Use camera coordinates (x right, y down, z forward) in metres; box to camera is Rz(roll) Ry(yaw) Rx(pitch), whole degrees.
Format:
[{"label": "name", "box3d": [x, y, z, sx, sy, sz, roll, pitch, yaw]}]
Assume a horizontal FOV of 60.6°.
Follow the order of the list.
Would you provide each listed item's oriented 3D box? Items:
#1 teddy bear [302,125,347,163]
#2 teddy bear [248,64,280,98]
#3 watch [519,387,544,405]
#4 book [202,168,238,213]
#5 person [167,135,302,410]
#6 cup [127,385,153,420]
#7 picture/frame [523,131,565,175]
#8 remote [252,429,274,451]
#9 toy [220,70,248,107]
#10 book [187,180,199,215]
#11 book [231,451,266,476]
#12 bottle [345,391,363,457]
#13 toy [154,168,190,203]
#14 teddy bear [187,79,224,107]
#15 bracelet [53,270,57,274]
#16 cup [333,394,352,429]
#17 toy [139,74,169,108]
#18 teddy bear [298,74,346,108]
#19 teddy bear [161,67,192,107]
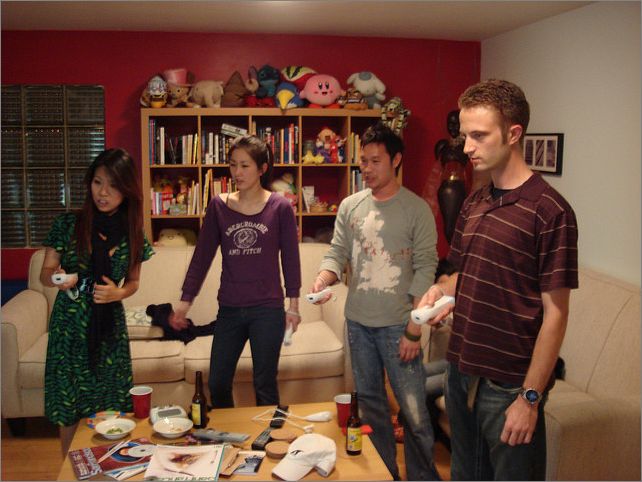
[{"label": "teddy bear", "box3d": [0.032, -0.919, 5.261, 0.416, 0.447, 0.272, 2, 6, -1]}, {"label": "teddy bear", "box3d": [-0.508, -1.499, 5.157, 0.312, 0.314, 0.228, -17, 21, -24]}, {"label": "watch", "box3d": [0.805, 0.591, 2.104, 0.073, 0.053, 0.076, -3, -7, 12]}, {"label": "book", "box3d": [-0.987, -0.530, 5.235, 0.367, 0.380, 0.262, -5, -1, 12]}, {"label": "person", "box3d": [-0.470, 0.172, 3.141, 0.693, 1.537, 0.254, -1, 8, -2]}, {"label": "cup", "box3d": [-0.951, 0.856, 2.912, 0.119, 0.136, 0.125, -2, 1, 0]}, {"label": "picture/frame", "box3d": [1.783, -0.726, 4.479, 0.472, 0.294, 0.017, -5, 8, -32]}, {"label": "remote", "box3d": [-0.285, 0.973, 2.717, 0.080, 0.043, 0.153, 2, 9, 14]}, {"label": "toy", "box3d": [-0.802, -1.409, 5.117, 0.236, 0.341, 0.151, -6, 10, -37]}, {"label": "book", "box3d": [-1.189, -0.397, 5.119, 0.152, 0.306, 0.283, -1, 8, -16]}, {"label": "book", "box3d": [-0.333, 1.029, 2.562, 0.121, 0.032, 0.162, 1, 9, 7]}, {"label": "bottle", "box3d": [0.161, 0.864, 2.677, 0.081, 0.302, 0.140, 0, 8, 3]}, {"label": "toy", "box3d": [-1.412, -0.515, 5.172, 0.289, 0.297, 0.142, 7, -7, -22]}, {"label": "teddy bear", "box3d": [-1.035, -1.335, 4.980, 0.309, 0.229, 0.196, 1, 25, -5]}, {"label": "bracelet", "box3d": [-1.368, 0.154, 2.833, 0.016, 0.005, 0.017, 12, 21, 34]}, {"label": "cup", "box3d": [0.114, 0.879, 2.832, 0.110, 0.139, 0.117, -10, 4, 1]}, {"label": "toy", "box3d": [-1.496, -1.396, 4.956, 0.265, 0.366, 0.176, 2, -16, 3]}, {"label": "teddy bear", "box3d": [0.023, -1.373, 5.043, 0.344, 0.262, 0.297, -4, 20, -11]}, {"label": "teddy bear", "box3d": [-1.303, -1.389, 5.015, 0.279, 0.327, 0.302, -4, 11, 11]}]
